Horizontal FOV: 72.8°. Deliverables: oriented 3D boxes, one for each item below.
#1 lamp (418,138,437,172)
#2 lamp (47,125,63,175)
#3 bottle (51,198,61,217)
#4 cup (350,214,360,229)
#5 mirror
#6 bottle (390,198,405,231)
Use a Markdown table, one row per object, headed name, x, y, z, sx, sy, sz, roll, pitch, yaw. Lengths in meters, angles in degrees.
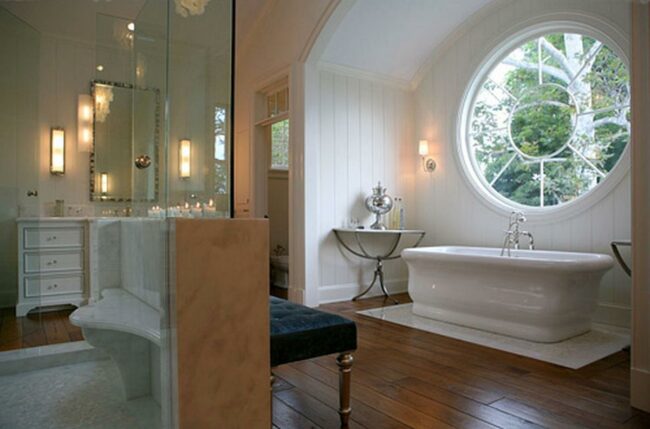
| name | x | y | z | sx | sy | sz | roll | pitch | yaw |
| --- | --- | --- | --- | --- | --- | --- | --- | --- | --- |
| lamp | 1.266 | -0.721 | 5.528 | 0.122 | 0.395 | 0.272 | -6 | 8 | -37 |
| lamp | -1.329 | -0.308 | 2.178 | 0.097 | 0.231 | 0.026 | 4 | 4 | 12 |
| bottle | -1.314 | -0.030 | 2.157 | 0.037 | 0.087 | 0.152 | -7 | 9 | -44 |
| cup | 0.339 | 0.086 | 5.273 | 0.139 | 0.161 | 0.140 | 1 | 0 | 0 |
| mirror | -0.935 | -0.335 | 1.993 | 0.462 | 0.564 | 0.134 | 3 | 8 | 30 |
| bottle | 0.900 | -0.002 | 5.528 | 0.171 | 0.383 | 0.331 | 1 | 7 | 9 |
